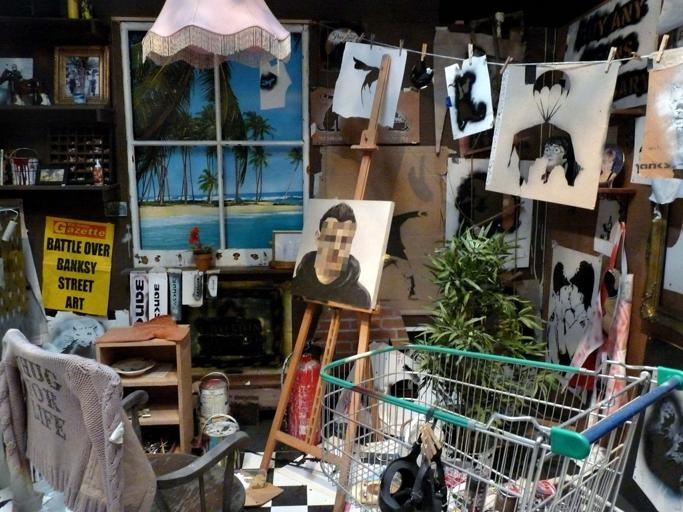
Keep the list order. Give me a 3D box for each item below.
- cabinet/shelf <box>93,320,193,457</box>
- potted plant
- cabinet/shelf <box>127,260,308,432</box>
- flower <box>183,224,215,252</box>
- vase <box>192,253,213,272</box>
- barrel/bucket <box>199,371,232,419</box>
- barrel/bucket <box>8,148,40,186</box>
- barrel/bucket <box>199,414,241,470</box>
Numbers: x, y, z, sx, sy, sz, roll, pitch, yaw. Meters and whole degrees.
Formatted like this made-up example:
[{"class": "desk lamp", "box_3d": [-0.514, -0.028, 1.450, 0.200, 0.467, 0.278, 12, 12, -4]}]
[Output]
[{"class": "cabinet/shelf", "box_3d": [-1.251, 0.887, 3.864, 0.410, 0.792, 0.388, -5, 8, -10]}, {"class": "potted plant", "box_3d": [0.879, 0.509, 3.811, 0.816, 1.366, 0.672, -9, 0, -21]}, {"class": "cabinet/shelf", "box_3d": [-0.800, 0.485, 4.734, 1.686, 1.803, 0.639, 0, 4, -2]}, {"class": "flower", "box_3d": [-1.048, -0.123, 4.312, 0.193, 0.252, 0.170, -1, 10, -36]}, {"class": "vase", "box_3d": [-1.007, 0.029, 4.300, 0.117, 0.108, 0.128, -3, 14, -9]}, {"class": "barrel/bucket", "box_3d": [-0.858, 0.905, 4.021, 0.193, 0.442, 0.189, 1, 15, 0]}, {"class": "barrel/bucket", "box_3d": [-2.237, -0.634, 4.195, 0.179, 0.283, 0.180, -1, -1, 0]}, {"class": "barrel/bucket", "box_3d": [-0.794, 1.195, 3.842, 0.222, 0.373, 0.229, 0, 4, 0]}]
